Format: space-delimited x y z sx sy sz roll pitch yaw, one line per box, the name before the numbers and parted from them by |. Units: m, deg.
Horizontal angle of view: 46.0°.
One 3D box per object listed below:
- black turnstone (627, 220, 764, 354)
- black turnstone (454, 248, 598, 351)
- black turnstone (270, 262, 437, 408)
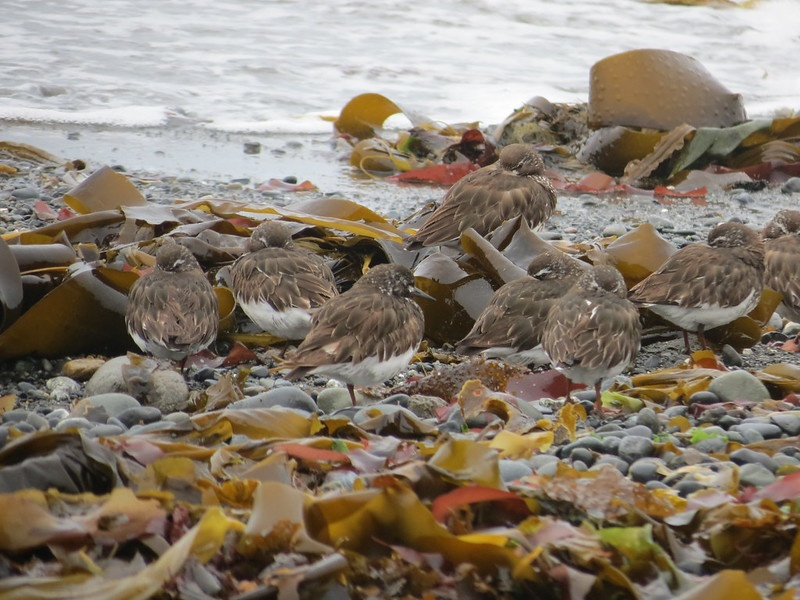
black turnstone | 1.710 -0.078 5.382 0.643 0.682 0.605 22 27 10
black turnstone | 0.639 0.024 5.072 1.031 0.419 0.360 -15 35 -13
black turnstone | -0.337 0.153 4.811 0.684 0.616 0.920 21 23 13
